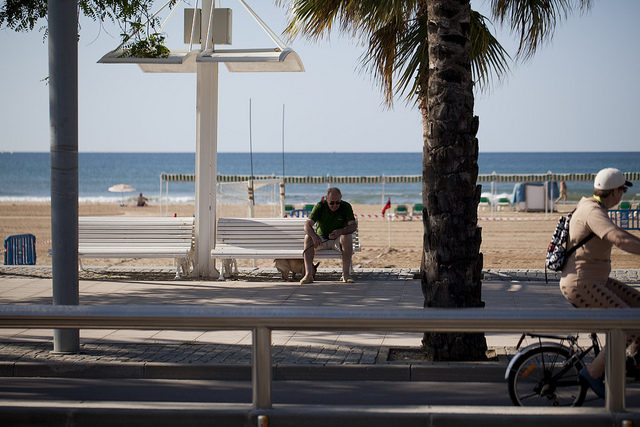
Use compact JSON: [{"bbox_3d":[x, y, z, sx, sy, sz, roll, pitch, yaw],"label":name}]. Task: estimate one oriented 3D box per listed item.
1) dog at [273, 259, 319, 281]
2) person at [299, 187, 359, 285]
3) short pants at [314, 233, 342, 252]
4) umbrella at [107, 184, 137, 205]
[{"bbox_3d":[-0.560,1.046,21.899,0.527,0.395,0.403,-2,4,-6],"label":"dog"},{"bbox_3d":[0.171,0.409,21.385,1.038,1.694,0.971,-1,-4,9],"label":"person"},{"bbox_3d":[0.192,0.568,21.370,0.498,0.231,0.295,-4,-33,2],"label":"short pants"},{"bbox_3d":[-10.437,-0.988,61.862,1.396,1.187,1.362,-1,-3,26],"label":"umbrella"}]
